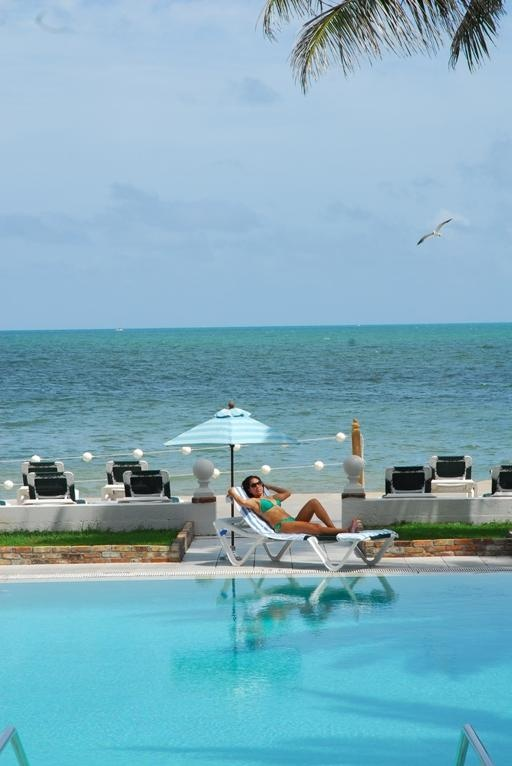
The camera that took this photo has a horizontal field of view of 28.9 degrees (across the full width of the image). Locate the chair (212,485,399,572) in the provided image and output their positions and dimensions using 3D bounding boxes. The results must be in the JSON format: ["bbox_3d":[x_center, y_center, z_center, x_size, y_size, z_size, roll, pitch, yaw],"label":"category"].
[{"bbox_3d":[0.440,1.462,10.047,1.585,0.678,0.850,-1,-1,17],"label":"chair"}]

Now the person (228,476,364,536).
[{"bbox_3d":[0.427,1.295,10.385,1.209,0.535,0.646,-2,0,20],"label":"person"}]

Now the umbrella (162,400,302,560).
[{"bbox_3d":[-0.280,0.728,11.042,1.177,0.960,1.154,2,10,12],"label":"umbrella"}]
